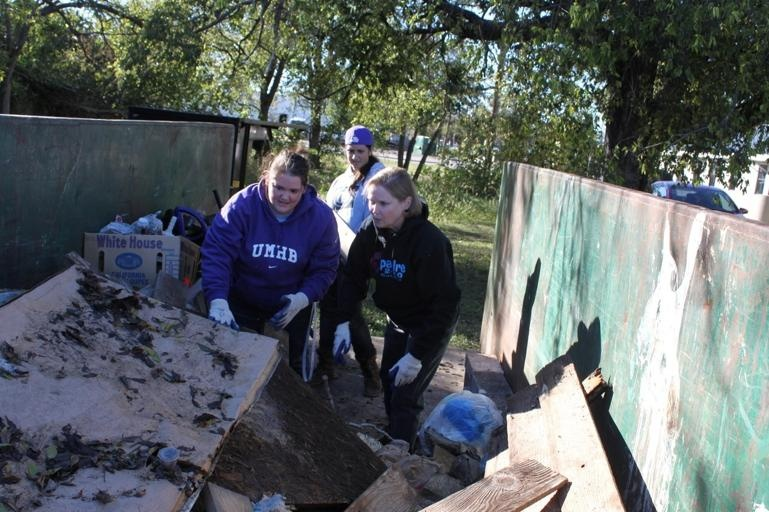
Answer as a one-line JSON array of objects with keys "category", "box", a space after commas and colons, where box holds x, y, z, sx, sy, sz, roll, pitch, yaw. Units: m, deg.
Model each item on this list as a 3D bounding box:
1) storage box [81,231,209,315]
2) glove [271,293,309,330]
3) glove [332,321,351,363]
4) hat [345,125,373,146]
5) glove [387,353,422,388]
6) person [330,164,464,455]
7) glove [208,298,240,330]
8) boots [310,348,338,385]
[{"category": "storage box", "box": [-2.090, 0.169, 5.241, 1.063, 0.718, 0.639, 3, 10, -31]}, {"category": "glove", "box": [-0.794, 0.437, 5.000, 0.113, 0.244, 0.324, 40, 44, 0]}, {"category": "glove", "box": [-0.361, 0.796, 5.181, 0.107, 0.341, 0.196, 12, 18, -28]}, {"category": "hat", "box": [-0.263, -1.278, 6.341, 0.205, 0.191, 0.243, 7, 10, 17]}, {"category": "glove", "box": [0.148, 0.946, 4.773, 0.152, 0.280, 0.211, 46, 44, -2]}, {"category": "person", "box": [0.099, 0.639, 5.120, 0.931, 2.828, 1.015, 12, 18, 26]}, {"category": "glove", "box": [-1.284, 0.436, 4.595, 0.208, 0.171, 0.292, 1, 12, -37]}, {"category": "boots", "box": [-0.679, 1.134, 6.150, 0.141, 0.342, 0.288, 15, 3, 41]}]
